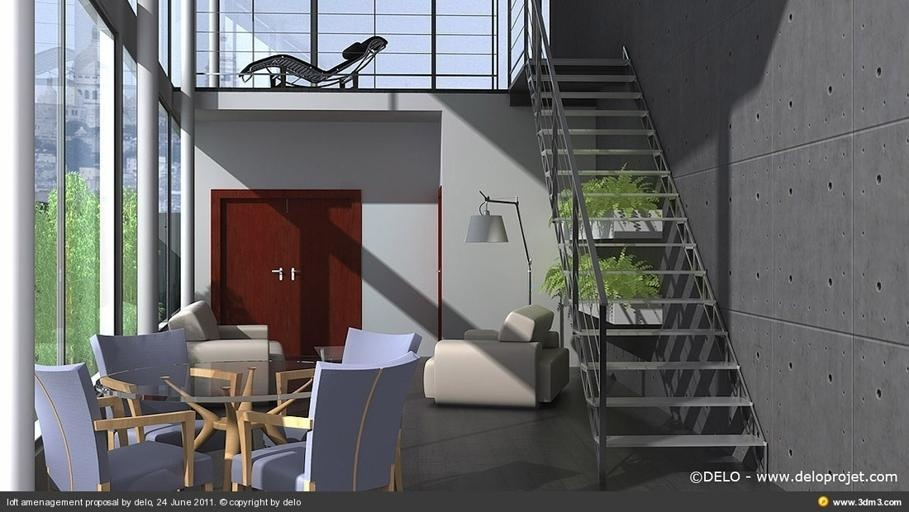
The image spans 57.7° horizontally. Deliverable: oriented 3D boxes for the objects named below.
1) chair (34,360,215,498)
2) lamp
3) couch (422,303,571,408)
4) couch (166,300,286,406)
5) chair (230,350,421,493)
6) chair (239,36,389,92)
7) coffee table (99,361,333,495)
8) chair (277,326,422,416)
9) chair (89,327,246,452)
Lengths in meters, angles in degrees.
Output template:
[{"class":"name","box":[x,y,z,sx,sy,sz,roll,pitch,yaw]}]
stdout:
[{"class":"chair","box":[-2.521,1.552,6.445,1.031,1.338,1.250,-8,-9,36]},{"class":"lamp","box":[0.540,-0.157,9.803,0.731,1.443,1.370,-2,-6,5]},{"class":"couch","box":[0.479,1.064,9.128,1.463,0.956,1.509,0,2,22]},{"class":"couch","box":[-2.466,0.991,8.918,1.432,0.805,1.523,1,5,-45]},{"class":"chair","box":[-1.046,1.538,6.436,1.263,1.345,0.974,-6,-10,40]},{"class":"chair","box":[-1.762,-2.322,10.285,2.110,0.672,0.790,1,7,-4]},{"class":"coffee table","box":[-1.796,1.208,6.533,1.232,0.455,1.213,3,3,19]},{"class":"chair","box":[-0.876,1.040,7.187,0.822,1.067,0.973,-1,-6,26]},{"class":"chair","box":[-2.340,1.307,6.908,0.990,1.178,1.098,-7,10,-38]}]
